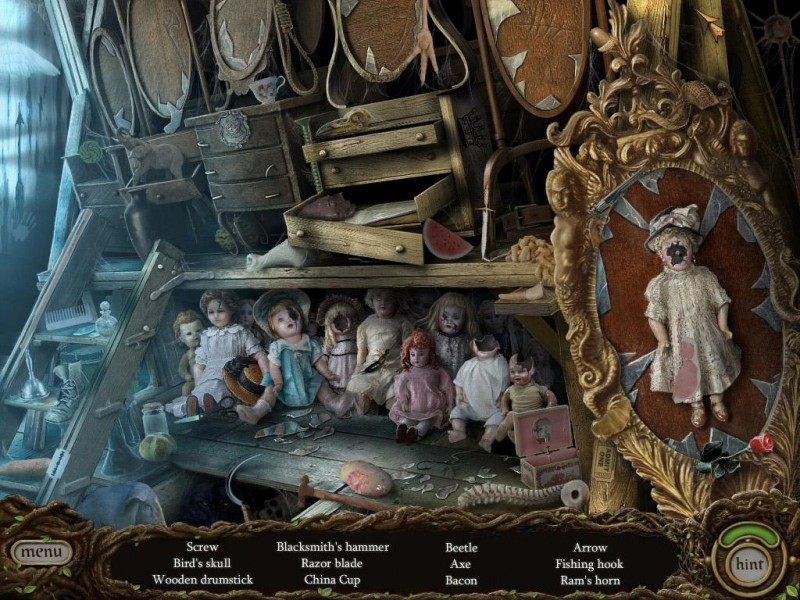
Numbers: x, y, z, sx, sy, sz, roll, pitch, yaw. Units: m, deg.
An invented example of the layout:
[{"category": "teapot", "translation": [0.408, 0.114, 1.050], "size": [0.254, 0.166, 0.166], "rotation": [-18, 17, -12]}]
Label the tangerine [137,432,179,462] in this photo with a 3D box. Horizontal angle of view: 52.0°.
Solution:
[{"category": "tangerine", "translation": [-1.293, 0.803, 4.404], "size": [0.174, 0.129, 0.099], "rotation": [3, -13, 0]}]

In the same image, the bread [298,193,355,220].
[{"category": "bread", "translation": [-0.381, -0.492, 4.299], "size": [0.222, 0.152, 0.053], "rotation": [0, -33, 2]}]

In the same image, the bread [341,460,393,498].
[{"category": "bread", "translation": [-0.167, 0.907, 4.112], "size": [0.239, 0.179, 0.157], "rotation": [-13, -8, 41]}]

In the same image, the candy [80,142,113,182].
[{"category": "candy", "translation": [-1.571, -0.734, 4.268], "size": [0.078, 0.207, 0.028], "rotation": [-43, 21, -14]}]
